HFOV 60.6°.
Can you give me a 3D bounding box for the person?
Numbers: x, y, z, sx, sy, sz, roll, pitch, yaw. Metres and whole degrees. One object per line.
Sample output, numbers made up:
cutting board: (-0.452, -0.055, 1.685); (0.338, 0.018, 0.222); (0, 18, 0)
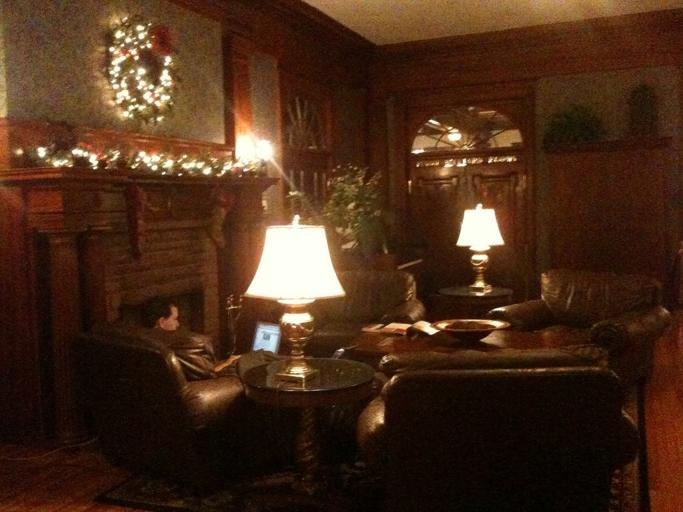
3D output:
person: (-1.013, 0.600, 3.909); (0.567, 0.547, 1.013); (-4, 4, -18)
